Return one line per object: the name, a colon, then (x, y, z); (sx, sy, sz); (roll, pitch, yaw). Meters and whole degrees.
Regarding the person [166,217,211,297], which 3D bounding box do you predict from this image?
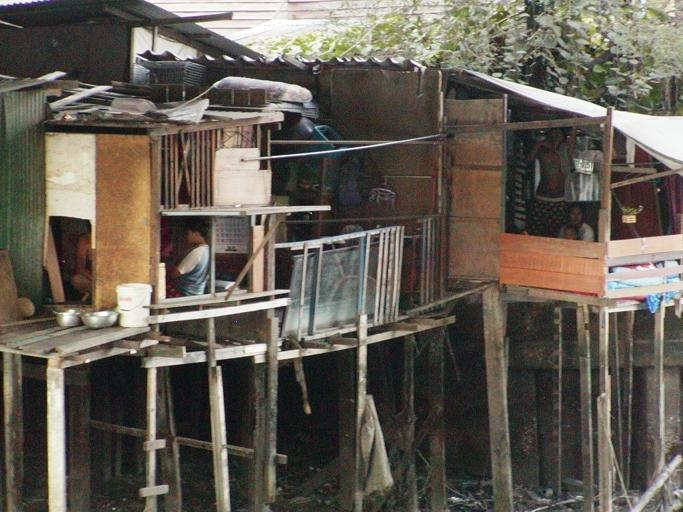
person: (-2.558, 0.002, 22.147); (0.753, 1.303, 0.863); (-1, 4, 7)
